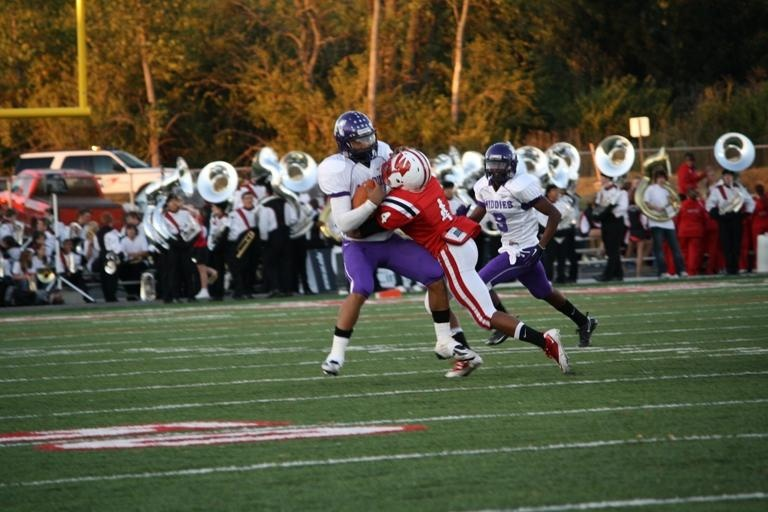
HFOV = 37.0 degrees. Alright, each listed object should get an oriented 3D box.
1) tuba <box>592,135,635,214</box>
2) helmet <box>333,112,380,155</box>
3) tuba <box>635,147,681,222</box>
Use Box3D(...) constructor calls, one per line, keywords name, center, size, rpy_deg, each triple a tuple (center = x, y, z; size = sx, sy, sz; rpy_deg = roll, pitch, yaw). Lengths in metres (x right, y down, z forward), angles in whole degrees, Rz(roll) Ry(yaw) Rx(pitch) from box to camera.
Box3D(name="tuba", center=(4.438, -1.554, 22.025), size=(0.799, 1.522, 0.554), rpy_deg=(1, 0, 1))
Box3D(name="helmet", center=(-0.360, -1.467, 13.509), size=(0.459, 0.503, 0.289), rpy_deg=(-2, -4, 1))
Box3D(name="tuba", center=(5.156, -1.308, 21.424), size=(1.041, 1.529, 0.829), rpy_deg=(0, -13, -2))
